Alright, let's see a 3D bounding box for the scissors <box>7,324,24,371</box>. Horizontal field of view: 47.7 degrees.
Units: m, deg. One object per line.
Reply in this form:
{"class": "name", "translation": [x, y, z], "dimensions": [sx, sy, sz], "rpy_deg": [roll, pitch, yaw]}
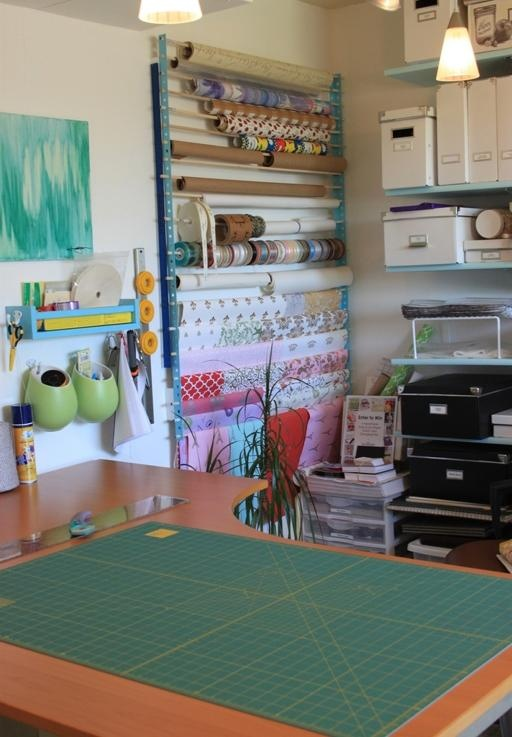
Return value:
{"class": "scissors", "translation": [-0.858, -0.076, 2.054], "dimensions": [0.104, 0.189, 0.015], "rpy_deg": [29, 28, 28]}

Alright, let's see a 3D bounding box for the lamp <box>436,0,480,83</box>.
{"class": "lamp", "translation": [0.602, -0.985, 1.748], "dimensions": [0.109, 0.285, 0.192], "rpy_deg": [-3, -2, 21]}

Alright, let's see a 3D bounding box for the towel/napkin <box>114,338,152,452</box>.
{"class": "towel/napkin", "translation": [-0.532, 0.099, 2.407], "dimensions": [0.161, 0.478, 0.088], "rpy_deg": [-2, -2, 2]}
